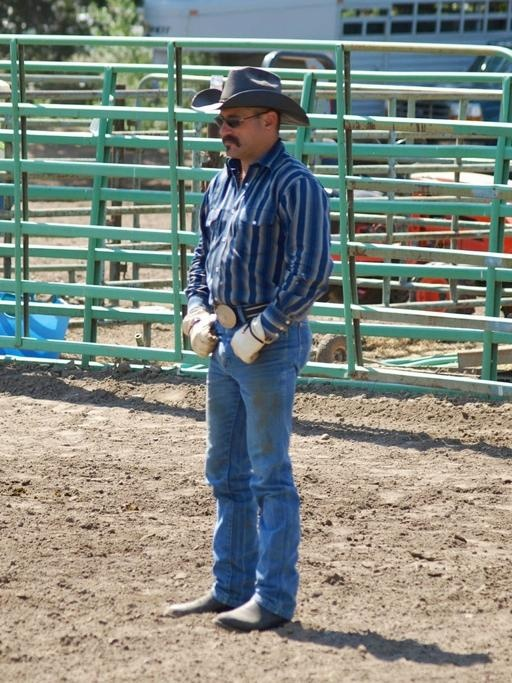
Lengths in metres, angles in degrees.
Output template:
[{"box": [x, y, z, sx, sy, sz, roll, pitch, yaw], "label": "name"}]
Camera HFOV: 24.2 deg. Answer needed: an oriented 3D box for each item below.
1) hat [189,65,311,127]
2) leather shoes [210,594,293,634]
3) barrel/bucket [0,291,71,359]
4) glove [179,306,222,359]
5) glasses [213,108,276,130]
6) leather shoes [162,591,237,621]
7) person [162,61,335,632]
[{"box": [-0.011, -0.886, 4.261, 0.387, 0.136, 0.300, 6, -3, -17], "label": "hat"}, {"box": [-0.022, 0.998, 4.324, 0.238, 0.086, 0.115, 4, -8, -6], "label": "leather shoes"}, {"box": [-1.543, -0.106, 8.385, 0.465, 0.469, 0.706, -2, 14, -8], "label": "barrel/bucket"}, {"box": [-0.214, -0.039, 4.488, 0.089, 0.177, 0.138, -6, -23, -37], "label": "glove"}, {"box": [-0.025, -0.806, 4.266, 0.134, 0.034, 0.102, -15, 10, -37], "label": "glasses"}, {"box": [-0.218, 1.014, 4.563, 0.288, 0.113, 0.091, 3, -9, 2], "label": "leather shoes"}, {"box": [-0.030, 0.024, 4.382, 0.595, 2.026, 0.662, 3, 16, 10], "label": "person"}]
